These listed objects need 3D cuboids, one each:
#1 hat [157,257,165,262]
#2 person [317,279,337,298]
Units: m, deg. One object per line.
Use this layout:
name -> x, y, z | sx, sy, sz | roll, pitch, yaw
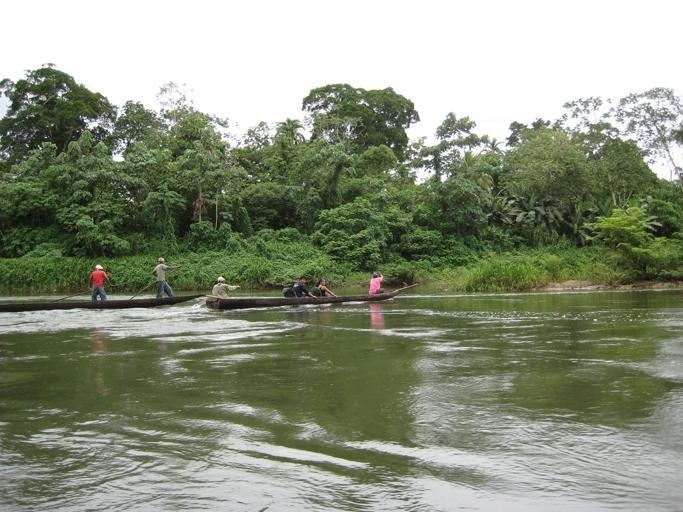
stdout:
hat -> -7.971, 0.153, 25.598 | 0.332, 0.133, 0.372 | -2, -6, -9
person -> -0.614, 1.304, 23.313 | 0.516, 0.798, 0.397 | -15, 29, 0
